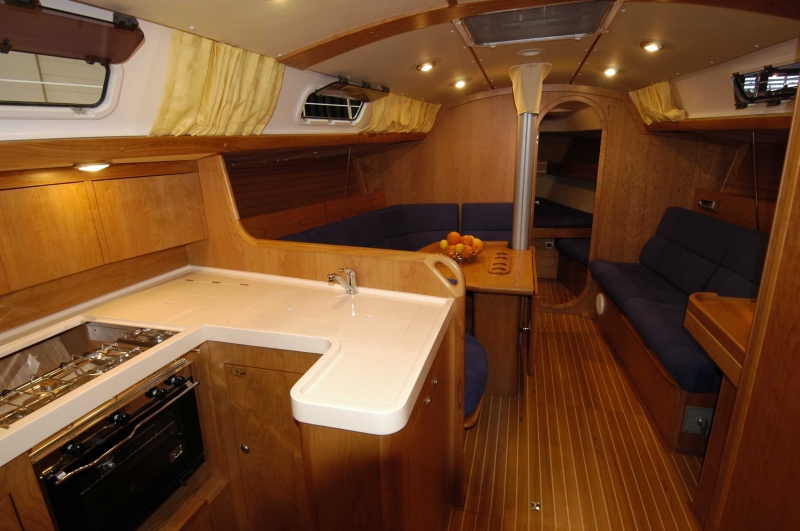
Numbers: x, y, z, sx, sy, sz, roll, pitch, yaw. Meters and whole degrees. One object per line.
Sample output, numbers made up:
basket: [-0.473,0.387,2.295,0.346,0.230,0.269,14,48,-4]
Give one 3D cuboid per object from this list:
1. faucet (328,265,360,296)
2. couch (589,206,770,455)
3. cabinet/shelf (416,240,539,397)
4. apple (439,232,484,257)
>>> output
faucet: [-0.340,0.094,3.017,0.175,0.151,0.141,8,17,22]
couch: [1.987,0.488,3.681,0.551,0.888,1.669,1,19,14]
cabinet/shelf: [0.723,0.352,4.120,0.998,0.999,1.409,2,15,15]
apple: [0.516,-0.171,4.322,0.304,0.175,0.314,0,12,4]
